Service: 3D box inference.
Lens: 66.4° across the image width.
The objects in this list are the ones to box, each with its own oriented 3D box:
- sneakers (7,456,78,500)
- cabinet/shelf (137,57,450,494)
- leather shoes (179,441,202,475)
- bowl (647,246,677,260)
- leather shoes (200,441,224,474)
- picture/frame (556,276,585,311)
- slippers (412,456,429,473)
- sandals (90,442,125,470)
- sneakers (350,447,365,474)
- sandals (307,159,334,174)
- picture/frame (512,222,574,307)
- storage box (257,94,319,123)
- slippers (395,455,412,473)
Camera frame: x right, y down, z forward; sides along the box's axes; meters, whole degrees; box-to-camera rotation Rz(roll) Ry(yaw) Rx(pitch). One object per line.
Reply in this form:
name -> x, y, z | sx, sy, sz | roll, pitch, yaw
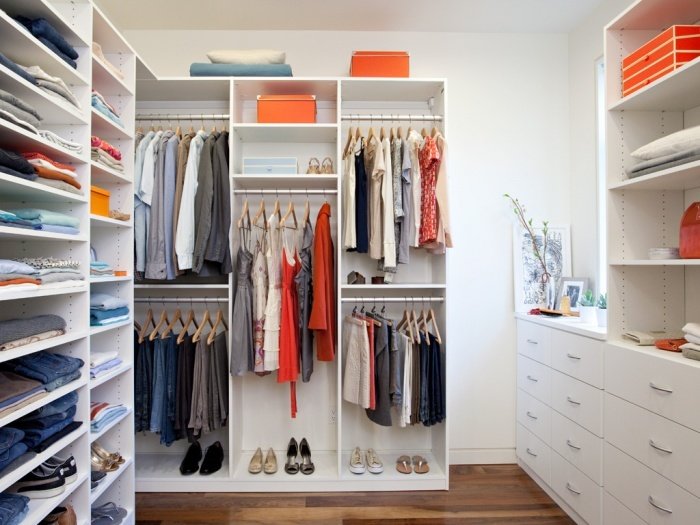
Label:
sneakers -> -1.476, 1.048, 2.608 | 0.201, 0.084, 0.157 | 0, -10, 6
cabinet/shelf -> -0.403, 0.144, 3.640 | 2.603, 3.315, 0.725 | 0, -4, -3
leather shoes -> -1.091, 1.346, 3.649 | 0.088, 0.090, 0.260 | 0, -3, -3
bowl -> 1.674, -0.047, 2.853 | 0.127, 0.068, 0.059 | -1, 0, 33
leather shoes -> -0.946, 1.330, 3.692 | 0.091, 0.098, 0.278 | 13, 26, -2
picture/frame -> 1.537, 0.224, 3.711 | 0.017, 0.255, 0.196 | 19, -16, -16
slippers -> 0.490, 1.388, 3.704 | 0.107, 0.082, 0.212 | 0, 0, 6
sandals -> -1.375, 1.104, 3.030 | 0.152, 0.055, 0.116 | 4, -5, -5
sneakers -> 0.056, 1.372, 3.741 | 0.109, 0.109, 0.243 | 0, 0, 0
sandals -> -0.215, -0.686, 3.825 | 0.125, 0.122, 0.074 | 0, -6, -4
picture/frame -> 1.412, 0.029, 3.883 | 0.542, 0.910, 0.034 | 0, -5, -1
storage box -> -0.430, -1.034, 3.566 | 0.271, 0.136, 0.209 | 0, 7, 0
slippers -> 0.375, 1.390, 3.699 | 0.115, 0.079, 0.193 | 0, 0, 3
